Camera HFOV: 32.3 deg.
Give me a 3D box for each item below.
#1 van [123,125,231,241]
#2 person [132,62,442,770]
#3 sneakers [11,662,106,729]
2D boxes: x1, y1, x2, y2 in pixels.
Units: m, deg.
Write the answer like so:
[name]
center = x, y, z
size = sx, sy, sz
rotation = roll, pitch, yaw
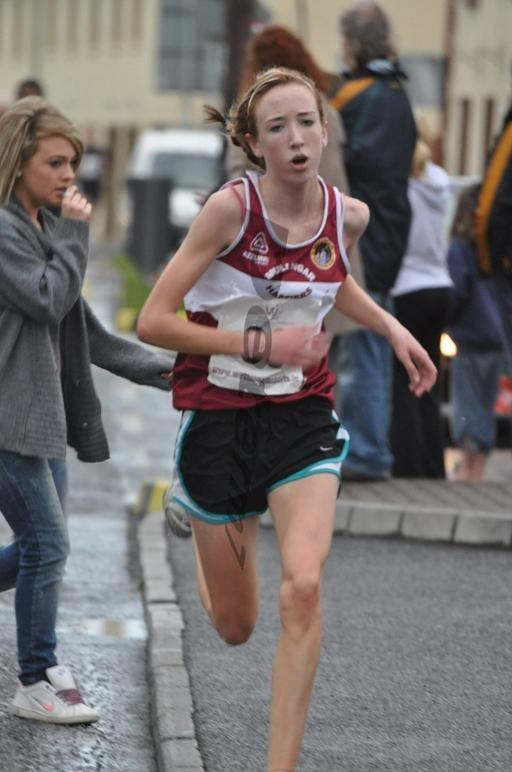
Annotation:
[van]
center = -1.677, -4.689, 18.946
size = 2.942, 2.551, 4.894
rotation = 1, 13, -2
[person]
center = -0.017, 0.012, 2.044
size = 0.499, 1.465, 0.629
rotation = 1, 4, 26
[sneakers]
center = -0.559, 0.878, 2.514
size = 0.297, 0.170, 0.110
rotation = 4, -7, 6
